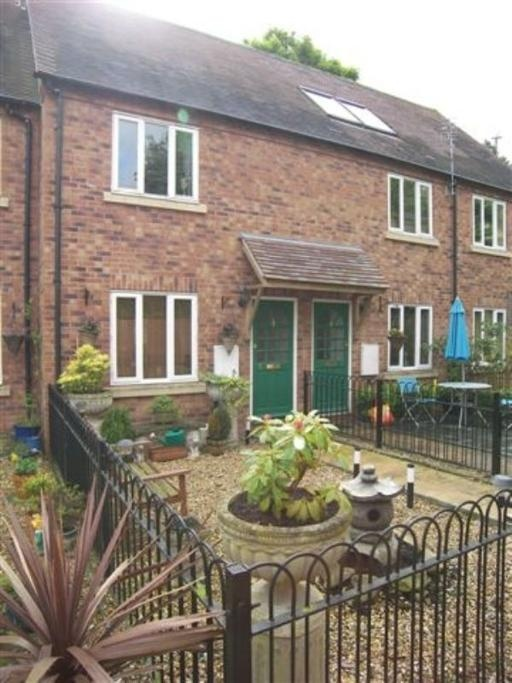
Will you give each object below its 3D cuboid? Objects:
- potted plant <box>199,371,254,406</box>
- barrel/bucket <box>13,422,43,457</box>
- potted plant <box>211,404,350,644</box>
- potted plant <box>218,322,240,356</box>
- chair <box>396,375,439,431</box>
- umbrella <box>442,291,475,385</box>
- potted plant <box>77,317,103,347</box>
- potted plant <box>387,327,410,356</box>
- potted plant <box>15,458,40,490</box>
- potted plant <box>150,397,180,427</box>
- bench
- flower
[{"bbox_3d":[-0.416,0.647,10.450,0.624,0.467,0.480,-2,-6,-4],"label":"potted plant"},{"bbox_3d":[-2.978,1.271,9.965,0.316,0.462,0.337,1,-1,0],"label":"barrel/bucket"},{"bbox_3d":[0.205,1.068,4.728,0.929,1.979,0.986,0,-4,-2],"label":"potted plant"},{"bbox_3d":[-0.385,-0.052,10.776,0.279,0.643,0.337,1,-3,-4],"label":"potted plant"},{"bbox_3d":[2.599,0.965,12.197,0.606,1.170,0.694,1,-3,-23],"label":"chair"},{"bbox_3d":[3.402,-0.095,12.783,0.368,1.641,2.809,-2,-6,16],"label":"umbrella"},{"bbox_3d":[-2.117,-0.127,9.658,0.200,0.364,0.156,3,5,-8],"label":"potted plant"},{"bbox_3d":[2.525,-0.007,13.384,0.338,0.569,0.357,0,1,-5],"label":"potted plant"},{"bbox_3d":[-2.468,1.387,8.152,0.230,0.253,0.368,-1,-2,-13],"label":"potted plant"},{"bbox_3d":[-1.225,0.932,10.174,0.309,0.498,0.365,-2,-2,21],"label":"potted plant"},{"bbox_3d":[-0.974,1.388,8.047,0.312,0.484,1.664,-7,9,-12],"label":"bench"},{"bbox_3d":[-1.997,0.697,9.319,0.452,0.930,0.576,5,6,-15],"label":"flower"}]
